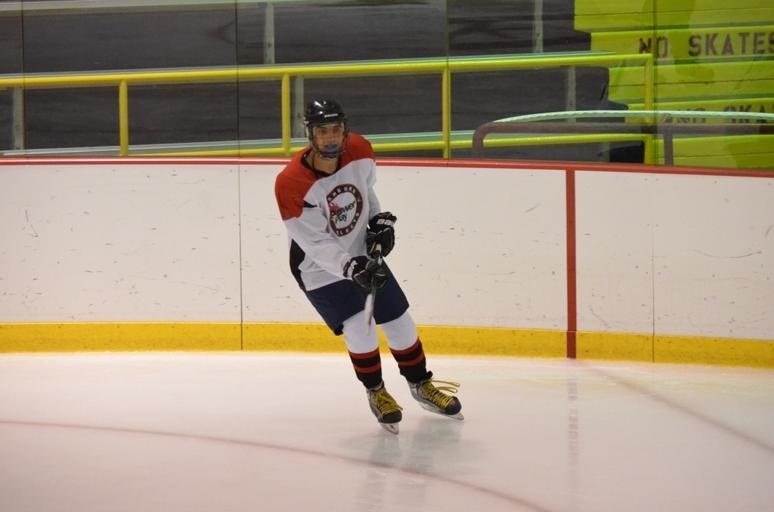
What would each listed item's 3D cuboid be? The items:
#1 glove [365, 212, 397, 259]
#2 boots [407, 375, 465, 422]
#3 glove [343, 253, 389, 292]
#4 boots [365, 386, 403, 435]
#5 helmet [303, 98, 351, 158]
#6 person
[{"bbox_3d":[-0.056,-0.129,5.855,0.187,0.271,0.104,-5,-32,31],"label":"glove"},{"bbox_3d":[0.319,0.879,5.951,0.213,0.138,0.360,-18,17,-35],"label":"boots"},{"bbox_3d":[-0.135,0.103,5.715,0.318,0.130,0.226,17,-13,41],"label":"glove"},{"bbox_3d":[-0.023,0.922,5.800,0.212,0.263,0.202,0,5,3],"label":"boots"},{"bbox_3d":[-0.396,-0.800,5.787,0.296,0.319,0.370,-6,20,-15],"label":"helmet"},{"bbox_3d":[-0.168,0.042,5.835,1.014,1.974,0.456,-1,6,-4],"label":"person"}]
